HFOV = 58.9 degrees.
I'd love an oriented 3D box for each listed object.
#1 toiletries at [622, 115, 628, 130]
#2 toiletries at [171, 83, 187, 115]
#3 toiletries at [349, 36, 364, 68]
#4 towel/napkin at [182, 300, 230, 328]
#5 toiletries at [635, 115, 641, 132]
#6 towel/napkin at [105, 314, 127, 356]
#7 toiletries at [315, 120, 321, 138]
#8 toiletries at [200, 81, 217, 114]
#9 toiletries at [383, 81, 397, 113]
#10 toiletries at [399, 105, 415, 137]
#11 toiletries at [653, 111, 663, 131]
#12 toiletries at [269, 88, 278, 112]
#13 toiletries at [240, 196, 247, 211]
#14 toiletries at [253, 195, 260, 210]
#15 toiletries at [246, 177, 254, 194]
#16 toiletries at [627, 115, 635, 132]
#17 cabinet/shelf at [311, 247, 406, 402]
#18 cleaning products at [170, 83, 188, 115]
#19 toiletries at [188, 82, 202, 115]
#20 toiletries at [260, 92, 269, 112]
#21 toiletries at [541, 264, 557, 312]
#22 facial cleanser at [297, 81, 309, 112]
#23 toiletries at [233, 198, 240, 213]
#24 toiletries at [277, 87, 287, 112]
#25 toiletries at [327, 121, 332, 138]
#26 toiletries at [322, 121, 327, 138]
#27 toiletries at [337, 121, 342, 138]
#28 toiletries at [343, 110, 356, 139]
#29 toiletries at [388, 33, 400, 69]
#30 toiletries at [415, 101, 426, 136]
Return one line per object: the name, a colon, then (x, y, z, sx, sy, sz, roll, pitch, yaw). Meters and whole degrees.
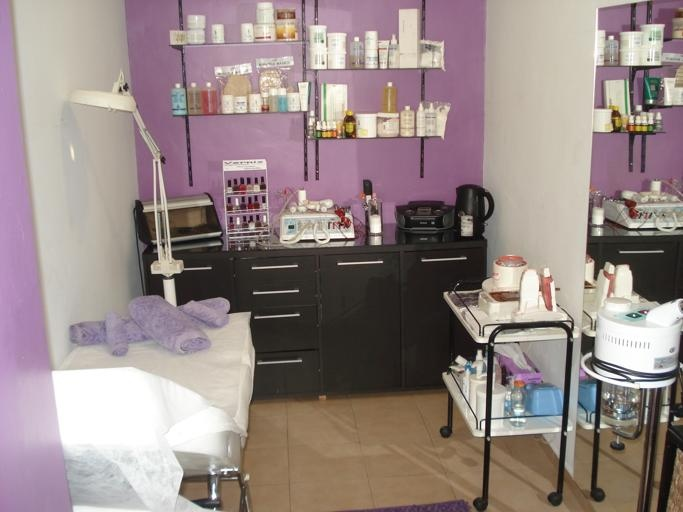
toiletries: (1.239, -0.586, 2.653, 0.013, 0.061, 0.030, -15, 18, -43)
toiletries: (-1.038, -0.989, 3.832, 0.090, 0.189, 0.106, -12, 15, -33)
toiletries: (0.090, -1.283, 3.863, 0.093, 0.199, 0.092, -1, -1, -1)
towel/napkin: (-0.638, 0.268, 2.975, 0.148, 0.052, 0.152, 24, 29, 35)
toiletries: (1.271, -0.571, 2.604, 0.009, 0.068, 0.031, -10, 14, -28)
towel/napkin: (-1.020, 0.334, 2.717, 0.079, 0.077, 0.251, 17, 20, -31)
toiletries: (-0.150, -0.804, 3.848, 0.039, 0.102, 0.057, -3, 13, -2)
toiletries: (-0.848, -1.006, 3.869, 0.112, 0.197, 0.118, 3, 9, 27)
toiletries: (0.301, -1.025, 3.910, 0.082, 0.195, 0.144, -5, 13, -8)
toiletries: (0.420, -0.867, 3.906, 0.103, 0.189, 0.051, -2, 13, 5)
toiletries: (1.311, -0.559, 2.510, 0.018, 0.075, 0.058, -4, 13, -4)
toiletries: (-0.435, -0.982, 3.818, 0.058, 0.136, 0.022, 2, 13, 20)
toiletries: (-0.637, -0.342, 3.902, 0.049, 0.090, 0.055, -5, 13, -10)
toiletries: (-0.555, -0.352, 3.924, 0.036, 0.079, 0.076, -5, 13, -7)
toiletries: (-0.611, -0.470, 3.979, 0.046, 0.083, 0.204, -5, 14, -8)
toiletries: (1.253, -0.579, 2.632, 0.008, 0.071, 0.038, -10, 15, -29)
cabinet/shelf: (0.092, 0.379, 3.773, 0.629, 1.239, 0.669, -1, 24, -2)
cleaning products: (-1.033, -0.991, 3.839, 0.124, 0.177, 0.127, -8, 16, -29)
toiletries: (-0.933, -1.000, 3.844, 0.081, 0.199, 0.086, -2, 13, 6)
toiletries: (-0.491, -0.976, 3.845, 0.048, 0.112, 0.046, -4, 13, -3)
toiletries: (0.985, 0.155, 2.902, 0.065, 0.208, 0.067, 1, 13, 19)
facial cleanser: (-0.242, -1.017, 3.853, 0.075, 0.179, 0.103, -4, 13, -3)
toiletries: (-0.678, -0.334, 3.895, 0.048, 0.086, 0.048, -5, 13, -10)
toiletries: (-0.379, -0.985, 3.823, 0.062, 0.141, 0.049, -4, 13, -6)
toiletries: (-0.076, -0.804, 3.838, 0.034, 0.091, 0.028, -3, 13, -1)
toiletries: (-0.115, -0.800, 3.838, 0.034, 0.091, 0.037, -2, 13, 6)
toiletries: (-0.015, -0.817, 3.915, 0.039, 0.104, 0.115, -3, 13, 0)
toiletries: (0.049, -0.843, 3.880, 0.091, 0.173, 0.089, -9, 14, -23)
toiletries: (0.325, -1.292, 3.825, 0.065, 0.205, 0.151, -1, 13, 10)
toiletries: (0.508, -0.872, 3.923, 0.054, 0.195, 0.080, 8, 17, 39)
